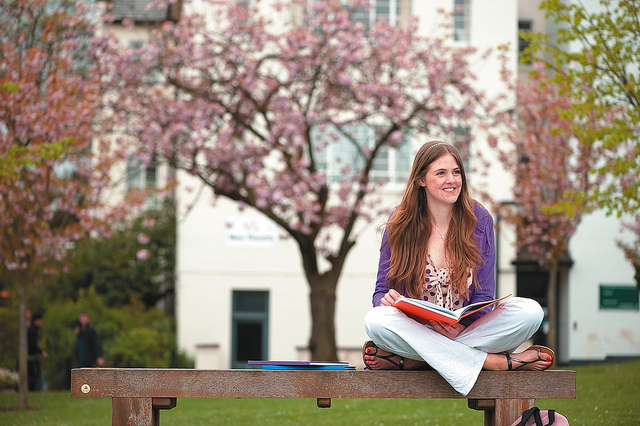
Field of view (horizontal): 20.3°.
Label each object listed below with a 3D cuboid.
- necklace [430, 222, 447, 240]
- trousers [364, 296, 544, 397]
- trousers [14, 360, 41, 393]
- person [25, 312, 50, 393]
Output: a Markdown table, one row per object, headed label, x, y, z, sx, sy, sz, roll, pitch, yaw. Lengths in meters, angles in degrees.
| label | x | y | z | sx | sy | sz | roll | pitch | yaw |
| --- | --- | --- | --- | --- | --- | --- | --- | --- | --- |
| necklace | 1.612 | 0.273 | 24.311 | 0.081 | 0.223 | 0.080 | -32 | -11 | -50 |
| trousers | 1.794 | 1.644 | 24.549 | 2.431 | 1.154 | 1.791 | -4 | 19 | -2 |
| trousers | -5.155 | 2.923 | 32.062 | 0.413 | 0.511 | 0.420 | -3 | -6 | 38 |
| person | -5.059 | 2.544 | 32.355 | 0.394 | 1.452 | 1.864 | 0 | -8 | -8 |
